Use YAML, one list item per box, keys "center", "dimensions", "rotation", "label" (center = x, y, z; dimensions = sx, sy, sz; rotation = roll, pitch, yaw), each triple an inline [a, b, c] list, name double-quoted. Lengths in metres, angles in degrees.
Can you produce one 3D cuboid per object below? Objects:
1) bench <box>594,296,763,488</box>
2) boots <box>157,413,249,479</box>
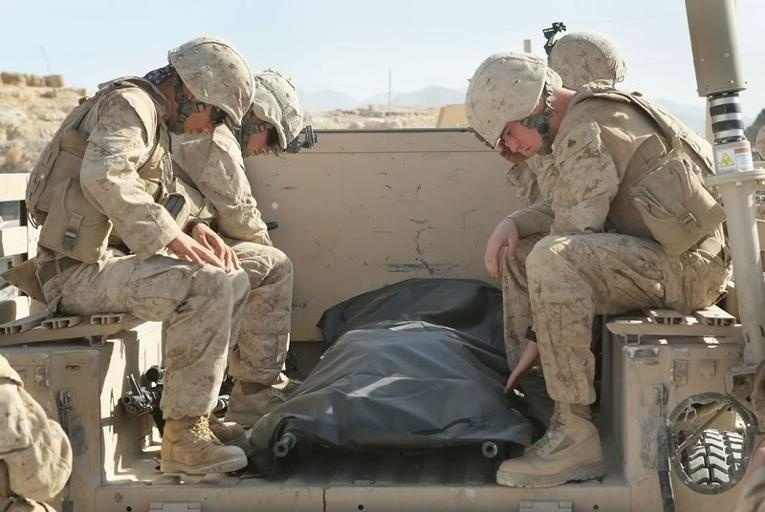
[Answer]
- center: [1.507, 0.492, 4.926]
  dimensions: [0.683, 0.858, 1.260]
  rotation: [-2, 2, 10]
  label: "bench"
- center: [-0.920, 0.960, 4.791]
  dimensions: [0.548, 0.402, 0.203]
  rotation: [-1, -4, -2]
  label: "boots"
